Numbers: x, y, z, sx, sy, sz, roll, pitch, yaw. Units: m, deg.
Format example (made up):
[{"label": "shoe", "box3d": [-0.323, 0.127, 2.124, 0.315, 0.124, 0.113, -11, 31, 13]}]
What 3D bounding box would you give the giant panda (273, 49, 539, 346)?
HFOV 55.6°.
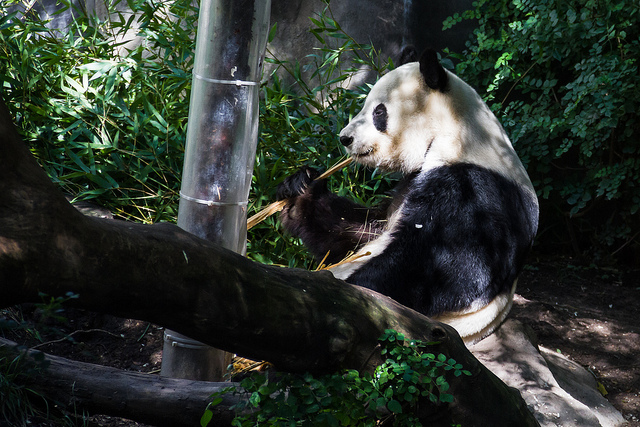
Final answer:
[{"label": "giant panda", "box3d": [0.501, -0.100, 3.552, 1.222, 1.587, 0.841, 4, -1, 37]}]
